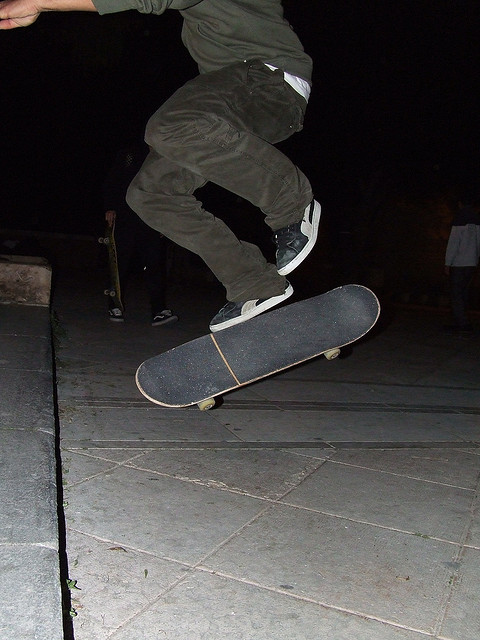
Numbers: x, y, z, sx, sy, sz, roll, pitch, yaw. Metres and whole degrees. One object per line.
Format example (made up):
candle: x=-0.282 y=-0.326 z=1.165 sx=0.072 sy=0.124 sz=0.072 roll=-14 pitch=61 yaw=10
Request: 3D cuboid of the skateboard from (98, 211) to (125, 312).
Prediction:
skateboard: x=-1.410 y=-0.626 z=6.521 sx=0.178 sy=0.958 sz=0.290 roll=-3 pitch=8 yaw=10
